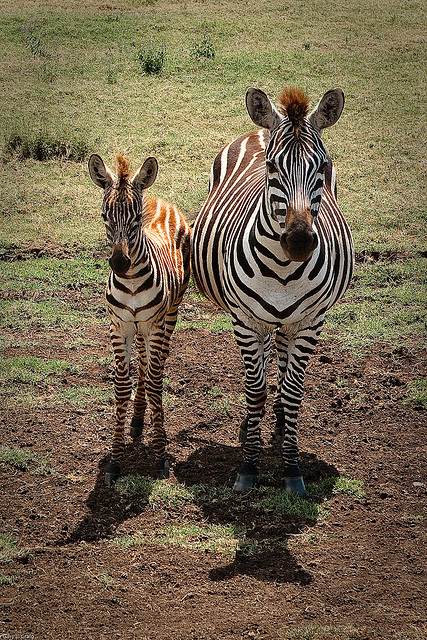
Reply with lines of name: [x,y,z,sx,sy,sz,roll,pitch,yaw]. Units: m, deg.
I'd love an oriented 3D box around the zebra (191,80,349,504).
zebra: [0.348,-0.255,6.060,0.911,2.462,2.053,3,15,-2]
